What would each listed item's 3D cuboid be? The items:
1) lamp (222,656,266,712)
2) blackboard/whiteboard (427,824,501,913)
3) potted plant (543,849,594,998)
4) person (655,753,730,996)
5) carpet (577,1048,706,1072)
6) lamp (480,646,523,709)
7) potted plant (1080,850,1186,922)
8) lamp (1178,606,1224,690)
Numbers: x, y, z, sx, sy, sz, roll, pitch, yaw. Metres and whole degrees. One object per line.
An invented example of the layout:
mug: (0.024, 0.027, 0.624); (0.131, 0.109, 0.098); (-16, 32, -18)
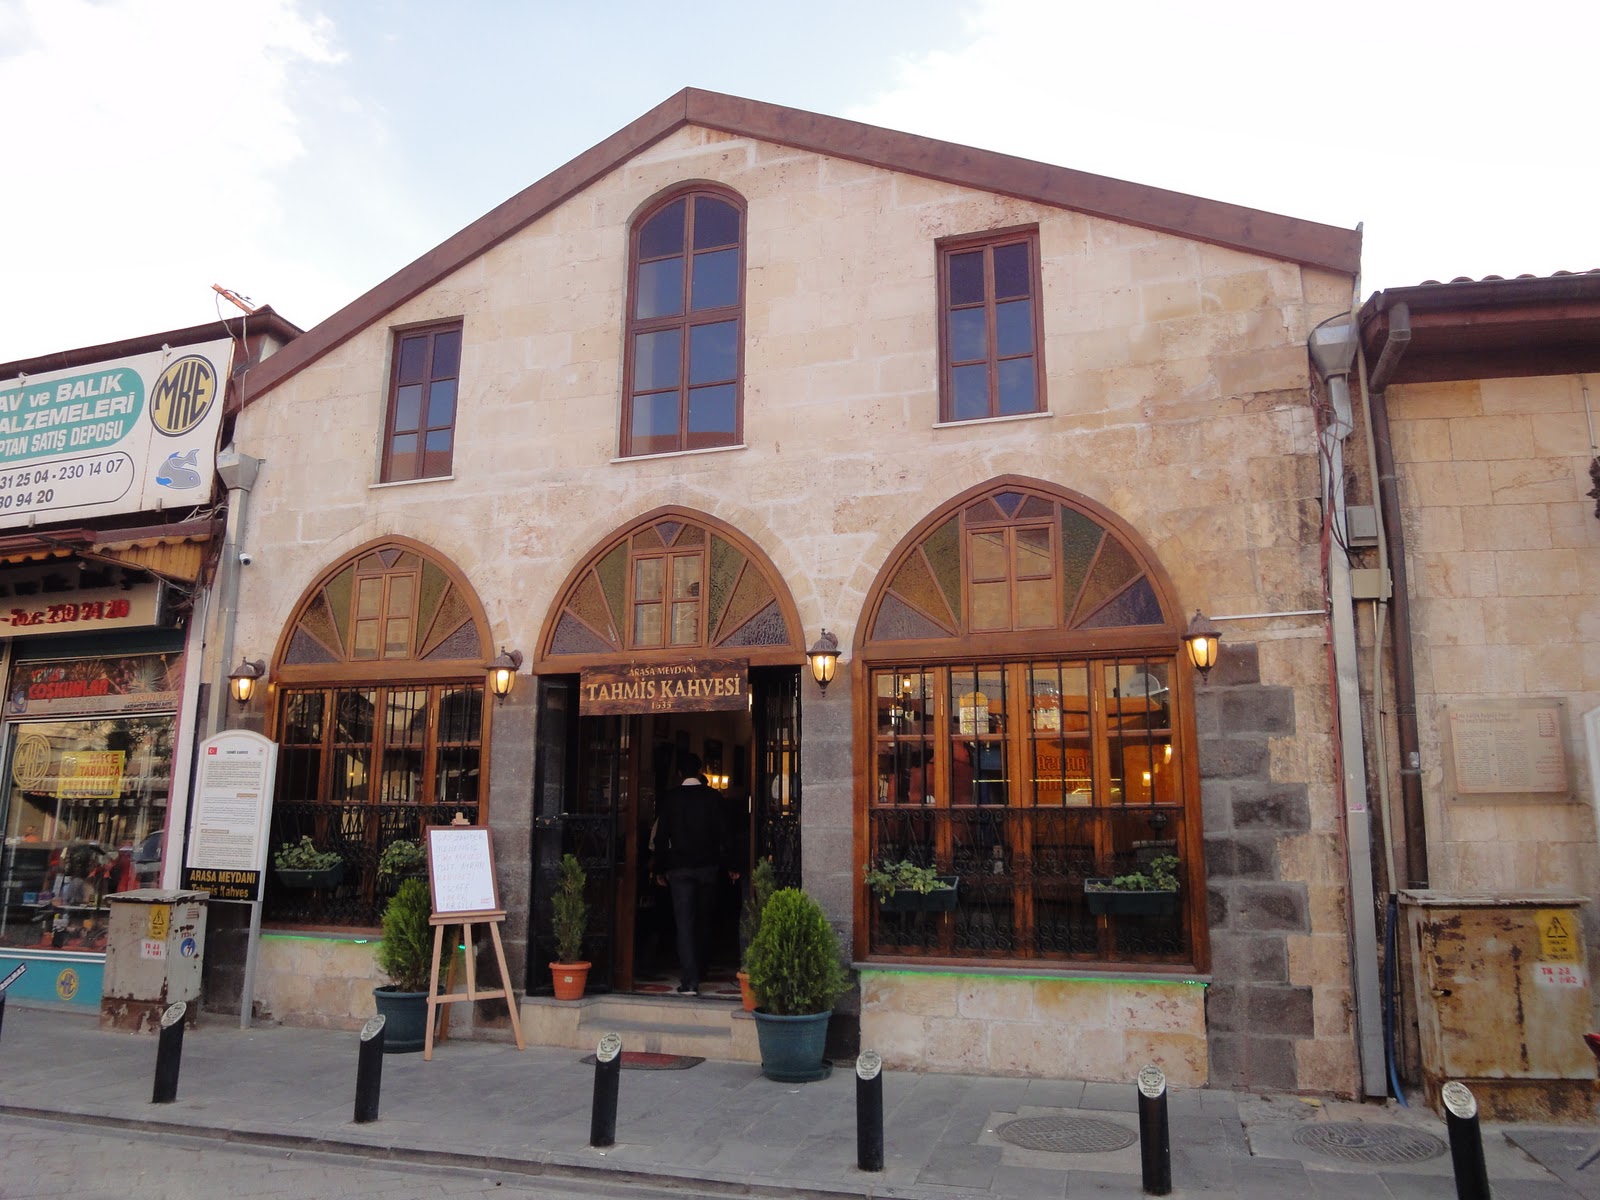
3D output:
lamp: (-6.776, 0.962, 13.517); (0.481, 0.597, 0.300); (-7, -16, 25)
blackboard/whiteboard: (-3.564, 2.814, 11.682); (0.101, 0.947, 0.813); (-33, -30, 27)
potted plant: (-2.547, 3.542, 12.238); (0.445, 1.526, 0.493); (3, -15, -12)
person: (-1.280, 3.060, 12.747); (0.757, 2.635, 0.748); (6, -16, -23)
carpet: (-1.366, 4.503, 10.967); (0.775, 0.087, 0.818); (3, -15, -13)
lamp: (-3.293, 0.807, 12.421); (0.493, 0.815, 0.483); (-5, -10, 40)
potted plant: (3.131, 2.619, 10.544); (0.700, 0.438, 0.713); (0, -6, -4)
lamp: (3.782, 0.395, 10.460); (0.347, 0.699, 0.342); (-5, -15, 18)
